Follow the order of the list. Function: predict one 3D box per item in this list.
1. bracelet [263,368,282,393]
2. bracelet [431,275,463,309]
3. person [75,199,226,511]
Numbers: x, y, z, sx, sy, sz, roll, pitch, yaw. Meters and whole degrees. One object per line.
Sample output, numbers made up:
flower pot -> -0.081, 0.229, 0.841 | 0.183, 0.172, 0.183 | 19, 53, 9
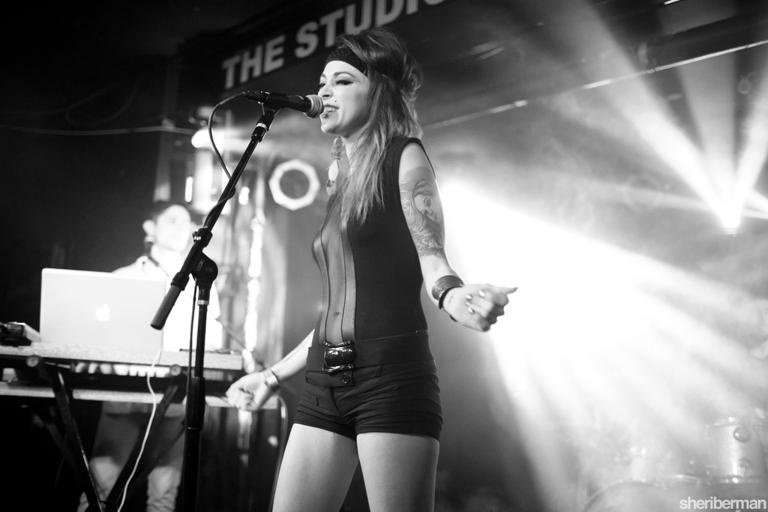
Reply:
bracelet -> -0.602, 0.663, 3.723 | 0.080, 0.127, 0.111 | -14, -15, -16
bracelet -> 0.281, 0.152, 3.264 | 0.148, 0.104, 0.149 | -11, -35, 37
person -> -1.698, 0.657, 5.422 | 0.872, 2.542, 1.501 | 7, -24, -13
